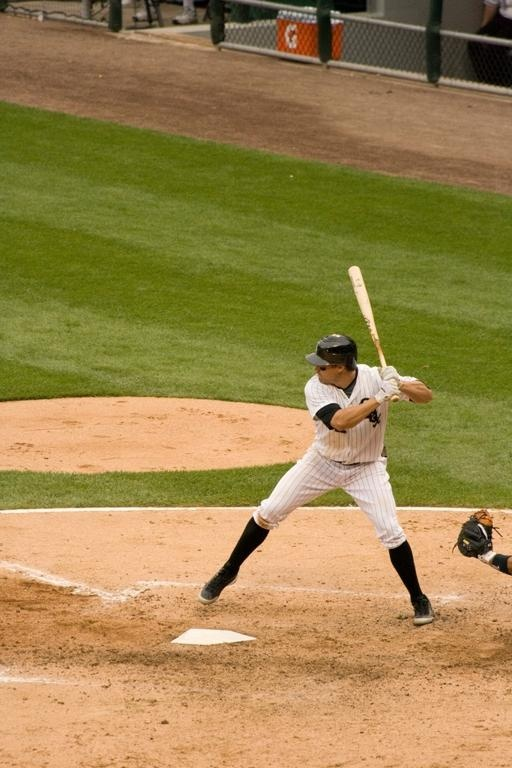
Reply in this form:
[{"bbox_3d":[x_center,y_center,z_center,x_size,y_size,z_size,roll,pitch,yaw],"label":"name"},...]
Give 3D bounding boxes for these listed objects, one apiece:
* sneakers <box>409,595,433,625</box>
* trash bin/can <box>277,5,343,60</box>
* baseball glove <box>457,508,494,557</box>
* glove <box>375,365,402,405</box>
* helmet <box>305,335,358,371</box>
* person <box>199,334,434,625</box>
[{"bbox_3d":[0.909,1.237,8.342,0.064,0.148,0.202,2,2,16],"label":"sneakers"},{"bbox_3d":[0.748,-5.463,24.097,1.347,0.726,0.675,7,12,30],"label":"trash bin/can"},{"bbox_3d":[1.249,0.854,8.697,0.144,0.258,0.197,25,-31,1],"label":"baseball glove"},{"bbox_3d":[0.702,0.005,8.112,0.054,0.176,0.169,6,-14,-11],"label":"glove"},{"bbox_3d":[0.415,-0.169,8.285,0.223,0.142,0.165,2,9,-1],"label":"helmet"},{"bbox_3d":[0.330,0.479,8.492,1.301,1.686,0.557,4,22,9],"label":"person"}]
